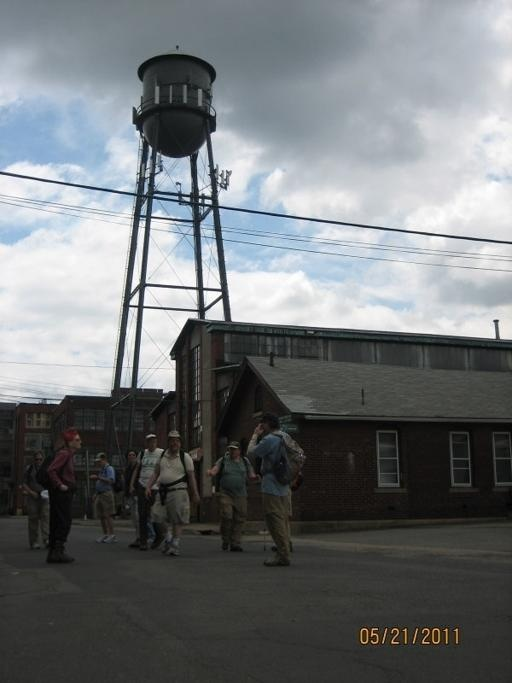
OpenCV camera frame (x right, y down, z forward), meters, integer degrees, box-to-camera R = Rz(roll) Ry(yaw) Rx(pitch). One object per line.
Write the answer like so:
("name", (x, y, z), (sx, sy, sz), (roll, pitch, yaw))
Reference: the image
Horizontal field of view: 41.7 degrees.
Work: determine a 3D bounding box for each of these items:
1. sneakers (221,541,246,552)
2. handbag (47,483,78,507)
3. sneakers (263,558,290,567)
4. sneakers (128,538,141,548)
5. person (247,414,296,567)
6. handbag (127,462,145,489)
("sneakers", (-0.427, 3.772, 12.376), (0.462, 0.196, 0.159), (-7, -8, 35))
("handbag", (-2.822, 2.248, 9.843), (0.393, 0.493, 0.308), (2, -7, -10))
("sneakers", (0.284, 2.910, 8.899), (0.337, 0.110, 0.284), (-1, -6, 2))
("sneakers", (-2.327, 3.947, 13.169), (0.175, 0.229, 0.245), (-11, -26, 28))
("person", (0.186, 1.983, 9.096), (0.542, 2.008, 0.691), (0, -7, -1))
("handbag", (-2.349, 2.620, 13.200), (0.176, 0.492, 0.364), (14, -21, -11))
